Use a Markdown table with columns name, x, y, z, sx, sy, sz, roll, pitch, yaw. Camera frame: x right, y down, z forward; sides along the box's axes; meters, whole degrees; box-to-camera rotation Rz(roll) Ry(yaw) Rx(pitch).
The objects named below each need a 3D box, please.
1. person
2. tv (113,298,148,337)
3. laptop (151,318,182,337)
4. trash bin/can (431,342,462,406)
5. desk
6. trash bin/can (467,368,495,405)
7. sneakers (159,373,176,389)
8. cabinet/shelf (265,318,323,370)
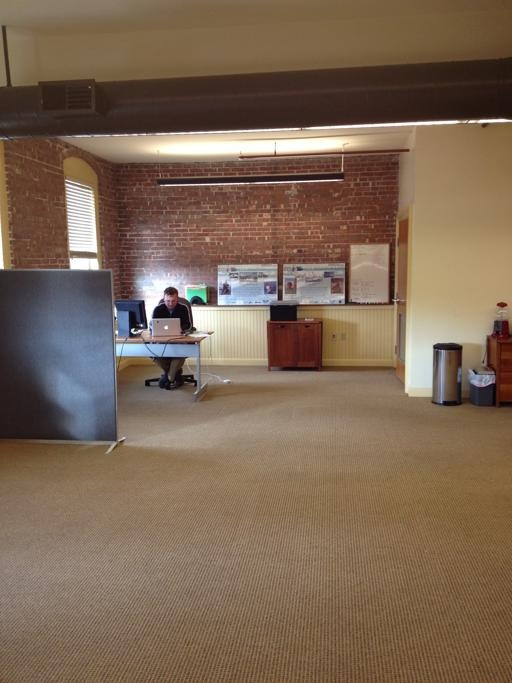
| name | x | y | z | sx | sy | sz | roll | pitch | yaw |
| --- | --- | --- | --- | --- | --- | --- | --- | --- | --- |
| person | -1.146 | -0.024 | 6.760 | 0.588 | 1.287 | 0.704 | 1 | 9 | 0 |
| tv | -1.594 | -0.285 | 6.288 | 0.448 | 0.513 | 0.272 | 1 | 15 | 0 |
| laptop | -1.129 | -0.166 | 6.194 | 0.313 | 0.217 | 0.223 | 1 | 11 | 0 |
| trash bin/can | 2.273 | 0.393 | 5.977 | 0.314 | 0.705 | 0.301 | 0 | 6 | 18 |
| desk | -1.172 | 0.313 | 6.375 | 1.046 | 0.846 | 0.640 | -1 | 6 | 8 |
| trash bin/can | 2.601 | 0.519 | 5.987 | 0.348 | 0.476 | 0.385 | -1 | 6 | 8 |
| sneakers | -1.253 | 0.554 | 6.974 | 0.201 | 0.205 | 0.076 | 8 | 6 | 5 |
| cabinet/shelf | 0.626 | 0.120 | 8.309 | 0.855 | 0.813 | 0.520 | 0 | -9 | 2 |
